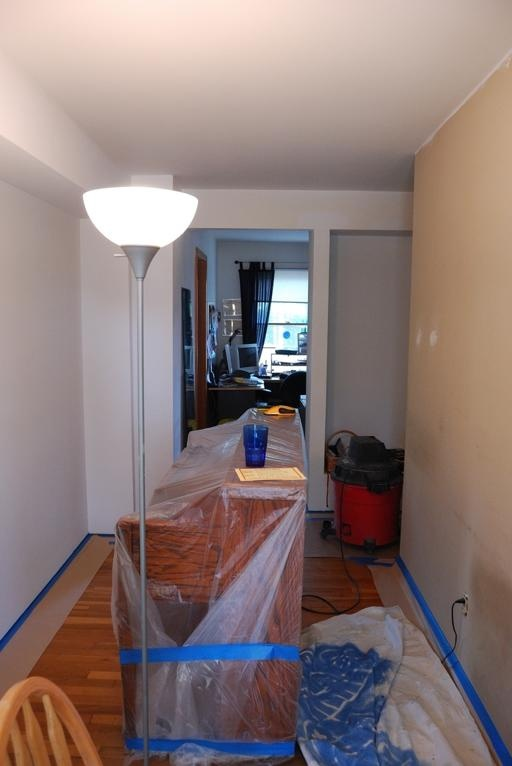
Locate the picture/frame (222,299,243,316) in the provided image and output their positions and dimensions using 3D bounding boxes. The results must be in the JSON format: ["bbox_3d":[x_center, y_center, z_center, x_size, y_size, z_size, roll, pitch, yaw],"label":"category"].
[{"bbox_3d":[-0.362,-1.185,8.187,0.215,0.228,0.032,0,4,-6],"label":"picture/frame"}]

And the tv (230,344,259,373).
[{"bbox_3d":[-0.157,-0.318,7.017,0.045,0.295,0.355,-3,7,25],"label":"tv"}]

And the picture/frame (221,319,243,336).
[{"bbox_3d":[-0.367,-0.856,8.269,0.295,0.257,0.090,0,2,13],"label":"picture/frame"}]

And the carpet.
[{"bbox_3d":[0.627,1.018,3.608,0.580,0.090,0.714,-1,2,5],"label":"carpet"}]

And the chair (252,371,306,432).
[{"bbox_3d":[0.329,0.170,6.426,0.522,0.778,0.531,2,5,4],"label":"chair"}]

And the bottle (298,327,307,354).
[{"bbox_3d":[0.722,-0.668,8.446,0.151,0.419,0.168,-1,2,-5],"label":"bottle"}]

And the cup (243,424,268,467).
[{"bbox_3d":[-0.001,0.199,1.718,0.068,0.145,0.139,-1,2,0],"label":"cup"}]

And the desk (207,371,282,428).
[{"bbox_3d":[-0.117,0.177,6.054,0.694,0.501,1.231,-1,2,5],"label":"desk"}]
